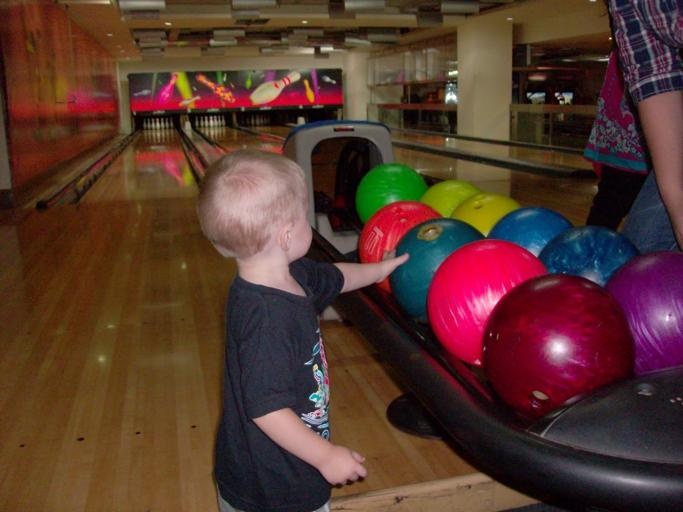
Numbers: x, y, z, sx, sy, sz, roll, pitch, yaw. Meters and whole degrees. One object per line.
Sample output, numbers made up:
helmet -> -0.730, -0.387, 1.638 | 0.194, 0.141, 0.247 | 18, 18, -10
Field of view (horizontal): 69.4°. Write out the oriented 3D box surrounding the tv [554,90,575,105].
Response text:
tv -> 4.655, -3.310, 10.343 | 0.403, 0.258, 0.248 | 5, 14, 25

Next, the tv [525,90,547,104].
tv -> 4.195, -3.522, 10.670 | 0.422, 0.311, 0.242 | 1, 5, 17
